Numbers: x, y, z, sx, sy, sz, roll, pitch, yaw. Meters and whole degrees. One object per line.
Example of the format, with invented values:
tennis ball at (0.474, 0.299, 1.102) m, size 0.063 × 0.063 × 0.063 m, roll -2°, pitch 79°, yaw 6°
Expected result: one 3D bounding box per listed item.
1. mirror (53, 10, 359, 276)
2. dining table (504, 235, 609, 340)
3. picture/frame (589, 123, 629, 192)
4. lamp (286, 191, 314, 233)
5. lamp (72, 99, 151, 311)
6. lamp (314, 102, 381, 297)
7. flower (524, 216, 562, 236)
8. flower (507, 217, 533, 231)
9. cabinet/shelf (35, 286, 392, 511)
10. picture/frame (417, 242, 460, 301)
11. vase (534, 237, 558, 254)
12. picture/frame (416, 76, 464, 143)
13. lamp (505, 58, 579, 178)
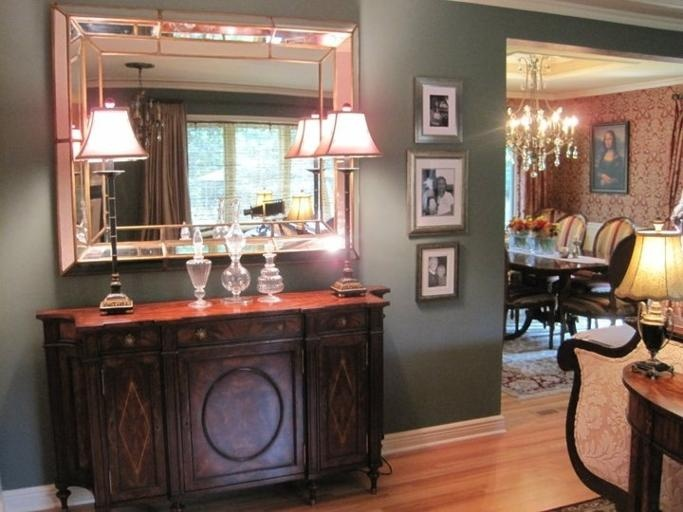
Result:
mirror at (-0.924, -0.739, 3.683) m, size 1.729 × 1.389 × 0.031 m, roll -1°, pitch 3°, yaw -20°
dining table at (2.093, 0.229, 6.153) m, size 0.976 × 0.785 × 1.578 m, roll -4°, pitch 8°, yaw -23°
picture/frame at (3.869, -1.412, 8.475) m, size 0.168 × 1.007 × 0.758 m, roll -6°, pitch 14°, yaw -17°
lamp at (-0.287, -0.287, 3.993) m, size 0.184 × 0.262 × 0.195 m, roll 3°, pitch 12°, yaw -2°
lamp at (-1.326, -0.287, 3.478) m, size 0.384 × 1.210 × 0.459 m, roll -6°, pitch 14°, yaw -20°
lamp at (0.043, -0.364, 3.799) m, size 0.392 × 1.186 × 0.485 m, roll -2°, pitch 13°, yaw -1°
flower at (2.315, -0.320, 6.684) m, size 0.272 × 0.177 × 0.275 m, roll 4°, pitch 4°, yaw 33°
flower at (2.123, -0.363, 6.874) m, size 0.184 × 0.155 × 0.179 m, roll -3°, pitch 4°, yaw -32°
cabinet/shelf at (-0.830, 0.843, 3.511) m, size 1.329 × 0.819 × 0.382 m, roll -3°, pitch 9°, yaw -18°
picture/frame at (0.681, 0.101, 4.236) m, size 0.410 × 0.475 × 0.037 m, roll -2°, pitch 6°, yaw -27°
vase at (2.312, -0.120, 6.649) m, size 0.196 × 0.145 × 0.198 m, roll 3°, pitch 5°, yaw 19°
picture/frame at (0.675, -1.037, 4.143) m, size 0.462 × 0.517 × 0.037 m, roll -3°, pitch 8°, yaw -20°
lamp at (2.483, -1.781, 7.478) m, size 0.940 × 1.435 × 1.008 m, roll 3°, pitch 16°, yaw 33°
